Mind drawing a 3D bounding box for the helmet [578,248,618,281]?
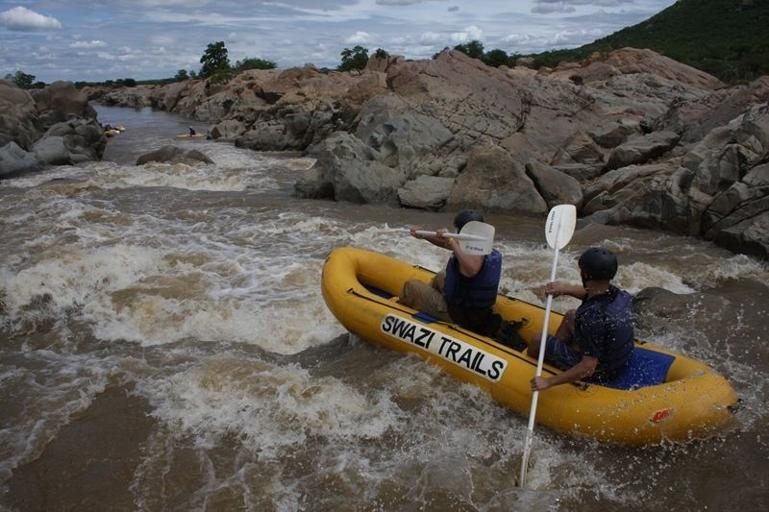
[{"bbox_3d":[2.327,0.071,6.212,0.356,0.378,0.412,-3,41,8],"label":"helmet"}]

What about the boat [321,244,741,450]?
[{"bbox_3d":[1.172,1.197,7.221,5.384,0.820,2.110,14,20,26],"label":"boat"}]
